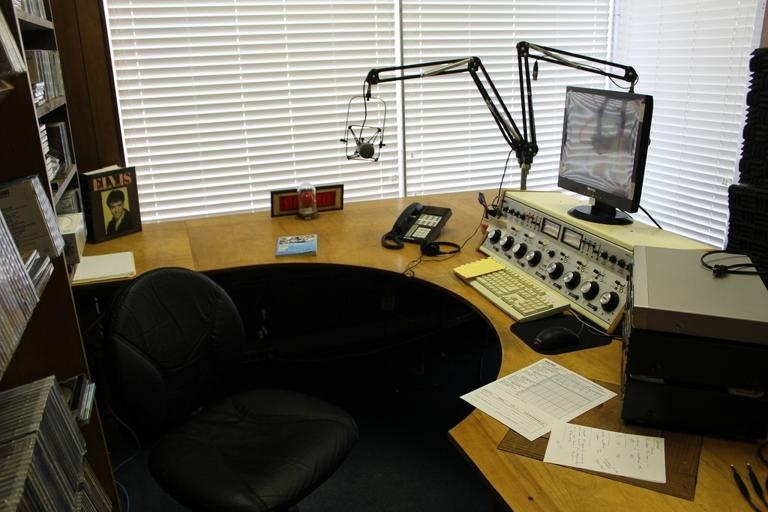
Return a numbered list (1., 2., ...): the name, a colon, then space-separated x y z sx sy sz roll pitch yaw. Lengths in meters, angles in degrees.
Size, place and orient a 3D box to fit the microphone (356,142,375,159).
1. microphone: -0.104 -0.584 3.127 0.091 0.101 0.147 -1 25 -5
